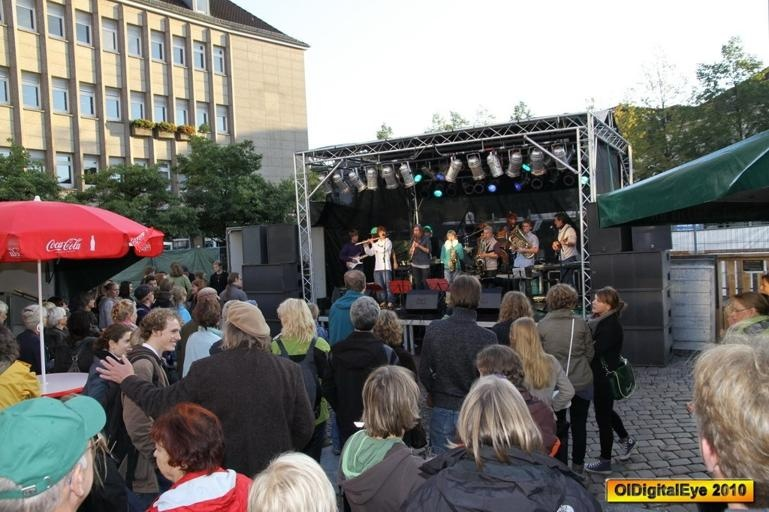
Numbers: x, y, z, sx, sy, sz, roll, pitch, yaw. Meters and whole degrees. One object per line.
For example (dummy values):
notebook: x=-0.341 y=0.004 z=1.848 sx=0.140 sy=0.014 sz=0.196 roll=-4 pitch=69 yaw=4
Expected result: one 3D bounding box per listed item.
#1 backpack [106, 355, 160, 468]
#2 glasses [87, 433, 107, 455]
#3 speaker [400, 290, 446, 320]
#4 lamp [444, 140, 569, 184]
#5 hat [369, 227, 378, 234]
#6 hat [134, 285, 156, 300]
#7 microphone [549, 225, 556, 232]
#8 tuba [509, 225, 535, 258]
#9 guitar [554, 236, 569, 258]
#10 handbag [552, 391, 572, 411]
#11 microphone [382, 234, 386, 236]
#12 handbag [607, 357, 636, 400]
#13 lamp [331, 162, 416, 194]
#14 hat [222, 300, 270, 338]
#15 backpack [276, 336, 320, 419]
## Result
backpack: x=-2.792 y=1.778 z=8.576 sx=0.384 sy=0.612 sz=1.039 roll=-16 pitch=49 yaw=-39
glasses: x=-2.742 y=1.830 z=7.524 sx=0.164 sy=0.214 sz=0.218 roll=3 pitch=6 yaw=-12
speaker: x=0.835 y=0.858 z=15.921 sx=0.778 sy=0.522 sz=0.615 roll=-1 pitch=16 yaw=18
lamp: x=2.904 y=-2.084 z=16.790 sx=2.278 sy=0.865 sz=0.672 roll=-4 pitch=21 yaw=27
hat: x=-0.287 y=-0.630 z=19.717 sx=0.190 sy=0.054 sz=0.211 roll=-44 pitch=0 yaw=21
hat: x=-3.826 y=0.572 z=12.336 sx=0.205 sy=0.248 sz=0.256 roll=5 pitch=34 yaw=23
microphone: x=4.157 y=-0.666 z=19.147 sx=0.183 sy=0.174 sz=0.101 roll=9 pitch=20 yaw=26
tuba: x=3.077 y=-0.320 z=17.073 sx=0.539 sy=0.521 sz=0.835 roll=-2 pitch=-2 yaw=-7
guitar: x=3.766 y=-0.183 z=16.455 sx=0.187 sy=0.506 sz=0.371 roll=6 pitch=8 yaw=34
handbag: x=2.187 y=1.794 z=9.581 sx=0.263 sy=0.212 sz=0.221 roll=-2 pitch=-2 yaw=-3
microphone: x=-0.009 y=-0.461 z=17.637 sx=0.062 sy=0.036 sz=0.066 roll=4 pitch=6 yaw=31
handbag: x=3.145 y=1.605 z=10.315 sx=0.217 sy=0.537 sz=0.439 roll=-7 pitch=20 yaw=48
lamp: x=-0.215 y=-1.840 z=18.018 sx=2.117 sy=0.424 sz=0.974 roll=-3 pitch=-2 yaw=25
hat: x=-1.561 y=0.725 z=8.771 sx=0.485 sy=0.426 sz=0.240 roll=-2 pitch=-1 yaw=-13
backpack: x=-1.043 y=1.536 z=9.643 sx=0.507 sy=1.022 sz=0.414 roll=-2 pitch=-1 yaw=-7
